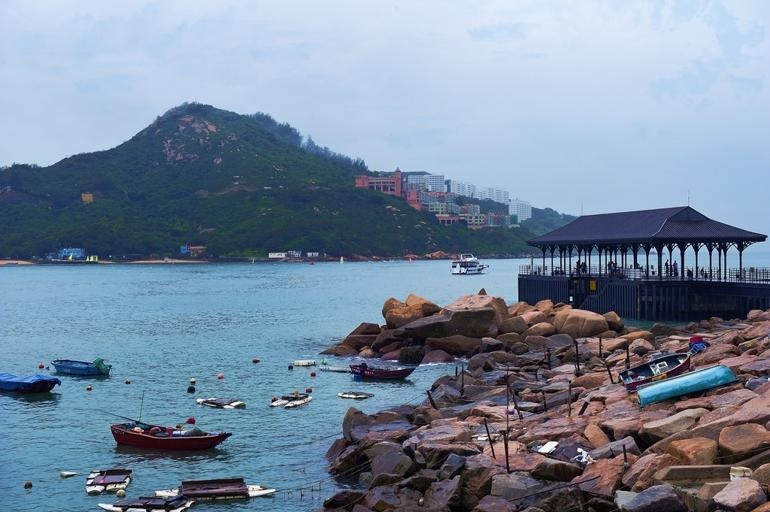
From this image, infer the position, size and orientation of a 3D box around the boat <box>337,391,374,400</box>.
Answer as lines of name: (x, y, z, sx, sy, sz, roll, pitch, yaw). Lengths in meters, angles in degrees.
boat: (-2.704, 14.051, 105.100, 3.479, 0.708, 1.970, -1, -4, 10)

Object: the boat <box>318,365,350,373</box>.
boat: (-5.272, 12.403, 114.183, 4.012, 0.631, 2.533, -1, -4, 14)

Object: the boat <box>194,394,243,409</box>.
boat: (-15.798, 14.684, 103.851, 5.057, 0.833, 2.168, -2, -5, 31)

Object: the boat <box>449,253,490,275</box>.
boat: (22.894, 3.259, 289.540, 7.342, 4.796, 9.031, 0, -4, -4)

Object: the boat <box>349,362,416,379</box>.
boat: (-0.251, 12.273, 110.619, 7.580, 1.323, 2.244, 0, -4, 18)

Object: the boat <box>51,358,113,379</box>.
boat: (-33.012, 12.467, 115.855, 6.716, 2.005, 2.204, -1, -4, 19)

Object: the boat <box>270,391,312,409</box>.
boat: (-8.927, 14.380, 104.430, 3.820, 1.344, 4.427, -2, -4, 26)
